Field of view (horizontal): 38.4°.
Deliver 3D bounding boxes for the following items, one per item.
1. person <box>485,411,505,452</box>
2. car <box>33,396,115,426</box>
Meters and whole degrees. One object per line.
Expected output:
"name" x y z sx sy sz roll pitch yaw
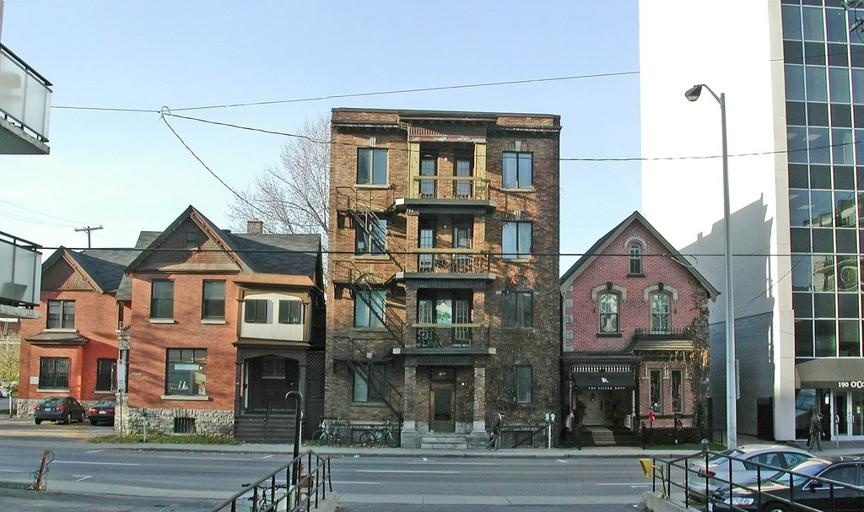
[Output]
"person" 4.395 11.880 85.668 1.082 2.745 1.541 -3 -14 5
"car" -26.667 11.536 93.144 5.782 2.375 2.057 -2 -14 2
